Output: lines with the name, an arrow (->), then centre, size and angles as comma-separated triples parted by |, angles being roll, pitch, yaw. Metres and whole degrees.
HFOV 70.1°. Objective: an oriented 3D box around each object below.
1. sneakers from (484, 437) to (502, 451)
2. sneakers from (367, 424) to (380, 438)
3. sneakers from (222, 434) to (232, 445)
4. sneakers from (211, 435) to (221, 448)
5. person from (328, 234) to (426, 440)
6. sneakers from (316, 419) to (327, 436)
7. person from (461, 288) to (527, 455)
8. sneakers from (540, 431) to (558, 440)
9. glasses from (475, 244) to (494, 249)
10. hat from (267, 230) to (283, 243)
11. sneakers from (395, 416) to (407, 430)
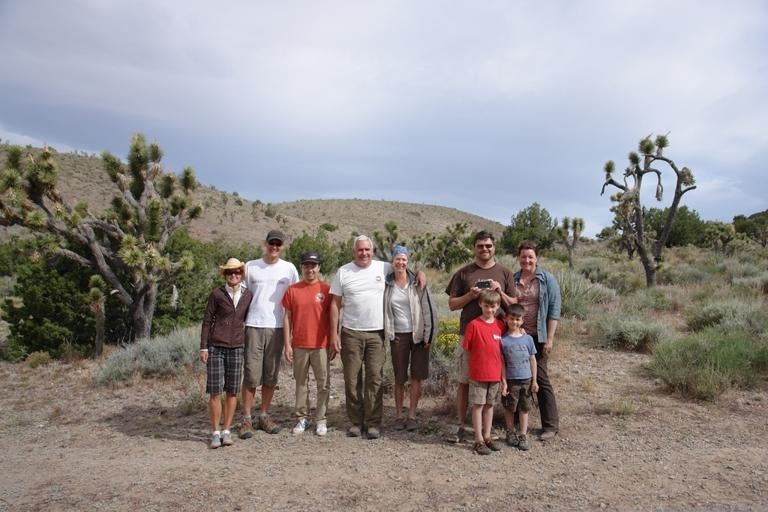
sneakers -> 1.962, 3.388, 9.984 | 0.361, 0.165, 0.133 | 8, 19, -4
sneakers -> -0.220, 3.344, 10.527 | 0.261, 0.210, 0.193 | 0, -3, -2
sneakers -> -2.937, 3.398, 10.273 | 0.194, 0.230, 0.155 | 1, -3, -23
sneakers -> -3.150, 3.422, 10.232 | 0.216, 0.256, 0.149 | 0, -3, -7
person -> -0.449, 1.522, 10.612 | 1.114, 3.849, 0.408 | 0, -2, 2
sneakers -> -1.221, 3.288, 10.600 | 0.205, 0.186, 0.429 | 1, -12, -6
person -> 1.803, 2.079, 9.991 | 0.703, 2.938, 0.295 | 0, -2, 12
sneakers -> 3.070, 3.312, 10.226 | 0.317, 0.149, 0.130 | 3, -4, -27
glasses -> 1.843, -0.191, 10.088 | 0.303, 0.078, 0.121 | -1, -4, 13
hat -> -2.107, -0.404, 10.641 | 0.376, 0.233, 0.334 | 2, -4, -24
sneakers -> 0.327, 3.254, 10.812 | 0.128, 0.109, 0.355 | 2, 11, 1
